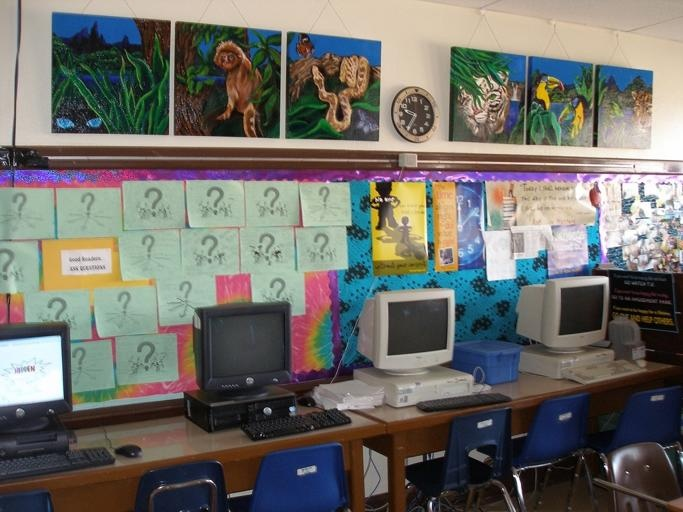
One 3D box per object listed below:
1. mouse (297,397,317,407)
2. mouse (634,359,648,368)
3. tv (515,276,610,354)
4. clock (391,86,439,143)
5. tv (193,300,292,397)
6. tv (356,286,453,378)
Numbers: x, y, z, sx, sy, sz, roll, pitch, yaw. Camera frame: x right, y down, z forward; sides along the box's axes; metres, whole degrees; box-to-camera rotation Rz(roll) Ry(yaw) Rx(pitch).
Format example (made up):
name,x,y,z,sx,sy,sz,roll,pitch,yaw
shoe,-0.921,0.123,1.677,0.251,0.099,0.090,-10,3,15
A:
name,x,y,z,sx,sy,sz,roll,pitch,yaw
mouse,-0.196,0.836,3.099,0.075,0.088,0.054,-4,48,22
mouse,2.054,0.727,3.683,0.064,0.063,0.066,-1,-3,-6
tv,1.553,0.402,3.794,0.504,0.475,0.370,0,1,-23
clock,0.488,-0.920,3.544,0.343,0.355,0.027,-1,1,-22
tv,-0.523,0.375,3.035,0.658,0.606,0.404,-2,2,-28
tv,0.400,0.437,3.354,0.520,0.496,0.392,-3,6,-21
